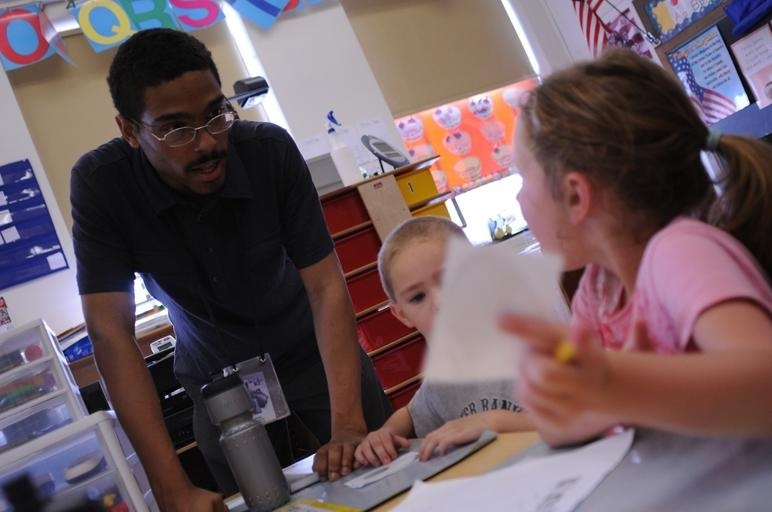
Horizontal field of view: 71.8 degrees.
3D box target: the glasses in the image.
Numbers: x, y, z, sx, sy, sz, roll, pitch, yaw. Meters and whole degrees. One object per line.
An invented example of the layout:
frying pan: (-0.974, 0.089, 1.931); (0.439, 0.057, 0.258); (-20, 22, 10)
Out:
glasses: (-0.449, -0.282, 1.186); (0.205, 0.106, 0.090); (-19, 5, -14)
